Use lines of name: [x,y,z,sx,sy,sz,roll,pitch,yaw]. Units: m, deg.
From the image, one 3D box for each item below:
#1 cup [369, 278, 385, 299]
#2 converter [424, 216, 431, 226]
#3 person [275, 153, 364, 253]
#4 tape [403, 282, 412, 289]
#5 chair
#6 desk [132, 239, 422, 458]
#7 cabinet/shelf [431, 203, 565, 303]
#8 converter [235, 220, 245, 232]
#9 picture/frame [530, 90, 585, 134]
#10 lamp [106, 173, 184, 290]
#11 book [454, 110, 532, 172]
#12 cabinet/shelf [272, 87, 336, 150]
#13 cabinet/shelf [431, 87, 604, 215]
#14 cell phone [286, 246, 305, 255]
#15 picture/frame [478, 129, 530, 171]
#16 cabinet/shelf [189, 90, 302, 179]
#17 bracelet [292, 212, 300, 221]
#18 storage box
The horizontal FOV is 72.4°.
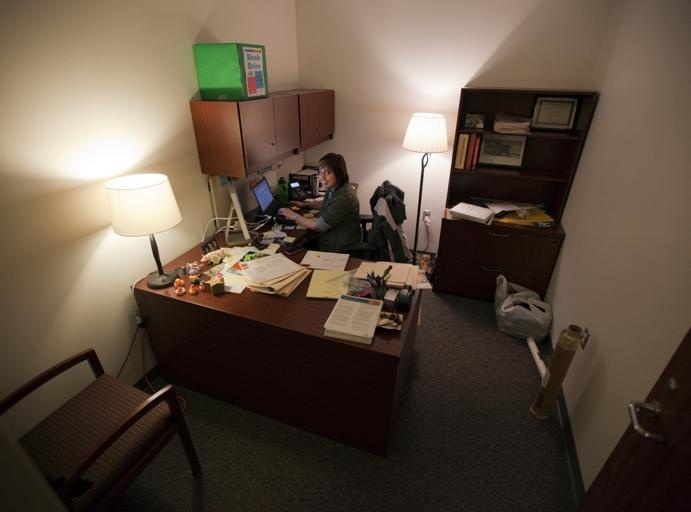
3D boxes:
cup: [0.204,0.209,3.087,0.100,0.113,0.106,-2,25,1]
converter: [0.868,-0.379,5.051,0.052,0.080,0.053,0,7,-37]
person: [-0.205,-0.289,4.222,0.707,1.217,0.565,3,28,0]
tape: [0.414,0.195,3.166,0.047,0.026,0.050,5,66,19]
chair: [0.342,-0.309,4.013,0.355,0.631,0.447,2,33,-2]
desk: [-0.475,0.585,3.563,1.756,0.919,0.943,11,31,11]
cabinet/shelf: [1.408,-0.098,4.431,1.082,0.955,0.699,9,33,15]
converter: [-0.874,-0.248,3.860,0.078,0.081,0.057,2,39,9]
picture/frame: [1.815,-1.230,4.020,0.367,0.351,0.054,8,30,19]
lamp: [-1.302,-0.152,3.142,0.404,0.729,0.341,-15,27,-26]
book: [1.337,-1.009,4.402,0.844,0.605,0.464,4,35,10]
cabinet/shelf: [-0.405,-1.343,4.509,0.342,0.474,0.668,13,29,22]
cabinet/shelf: [1.549,-0.959,4.160,1.092,1.311,0.380,5,35,11]
cell phone: [-0.389,-0.043,3.621,0.118,0.024,0.225,5,14,22]
picture/frame: [1.439,-0.967,4.339,0.333,0.328,0.079,9,28,14]
cabinet/shelf: [-0.737,-0.923,3.580,0.721,0.532,0.378,-20,30,-32]
bracelet: [-0.424,-0.349,4.097,0.050,0.077,0.075,30,13,6]
storage box: [-0.838,-1.384,3.545,0.555,0.330,0.563,-9,22,-22]
